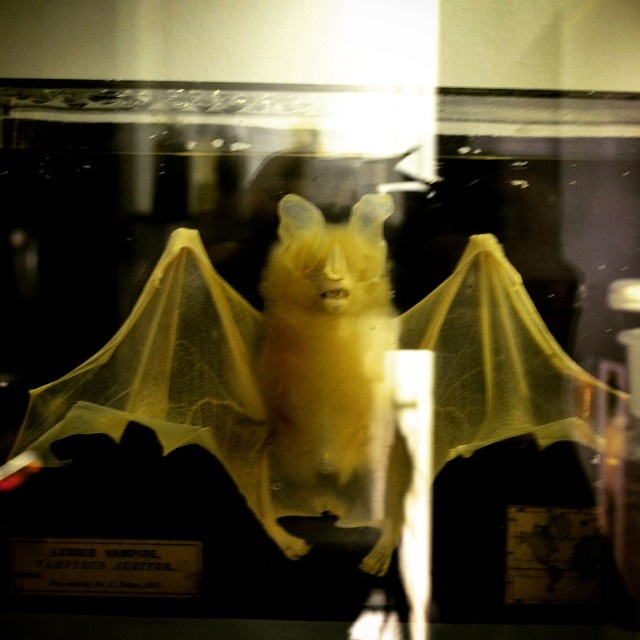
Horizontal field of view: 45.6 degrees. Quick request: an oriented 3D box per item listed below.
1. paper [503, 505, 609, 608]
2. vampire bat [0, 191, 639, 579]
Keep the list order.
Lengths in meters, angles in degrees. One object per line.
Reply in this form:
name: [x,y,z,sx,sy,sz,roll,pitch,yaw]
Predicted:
paper: [0.415,0.411,1.343,0.267,0.186,0.032,0,4,-1]
vampire bat: [0.004,0.102,1.337,0.985,0.445,0.241,1,1,-4]
